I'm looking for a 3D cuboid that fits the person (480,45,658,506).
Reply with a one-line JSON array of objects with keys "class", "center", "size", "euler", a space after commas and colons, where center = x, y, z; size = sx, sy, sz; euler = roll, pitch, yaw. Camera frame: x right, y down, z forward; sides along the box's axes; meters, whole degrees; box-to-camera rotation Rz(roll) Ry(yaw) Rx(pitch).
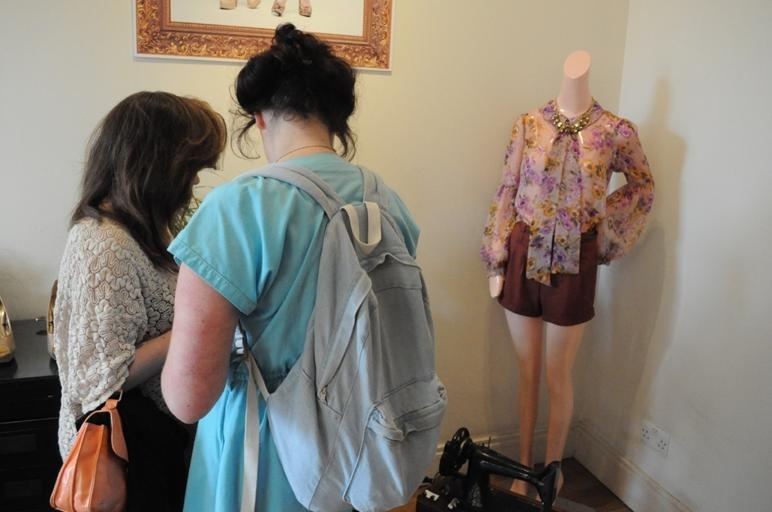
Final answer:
[{"class": "person", "center": [0.889, 0.070, 3.255], "size": [0.800, 2.112, 0.289], "euler": [3, 10, 15]}]
